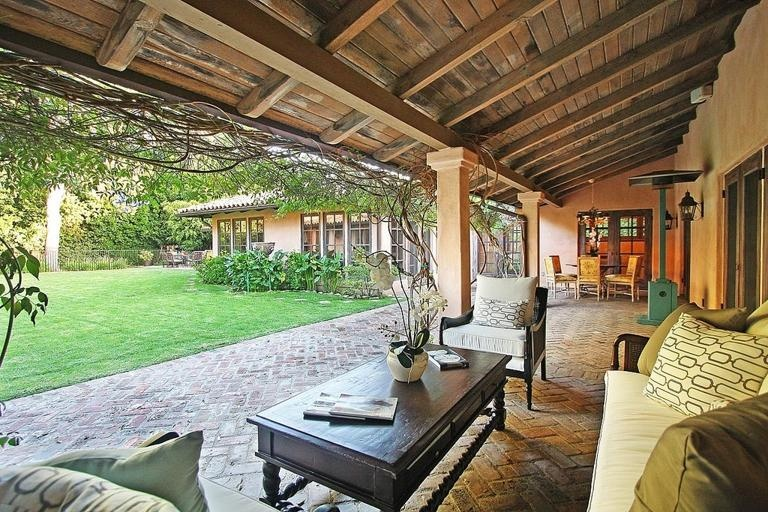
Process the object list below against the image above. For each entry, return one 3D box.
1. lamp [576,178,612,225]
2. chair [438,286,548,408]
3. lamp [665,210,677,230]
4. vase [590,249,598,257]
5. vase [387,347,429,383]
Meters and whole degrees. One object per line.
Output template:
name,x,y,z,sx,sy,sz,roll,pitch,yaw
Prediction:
lamp,5.437,-1.391,10.594,0.659,1.312,1.798,0,-1,27
chair,1.370,0.989,4.626,1.149,1.221,1.218,-3,-9,31
lamp,7.057,-0.928,9.979,0.196,0.522,1.016,0,-1,33
vase,5.498,-0.080,10.659,0.150,0.186,0.190,7,-2,-3
vase,0.177,0.819,3.082,0.280,0.162,0.262,1,-5,1
